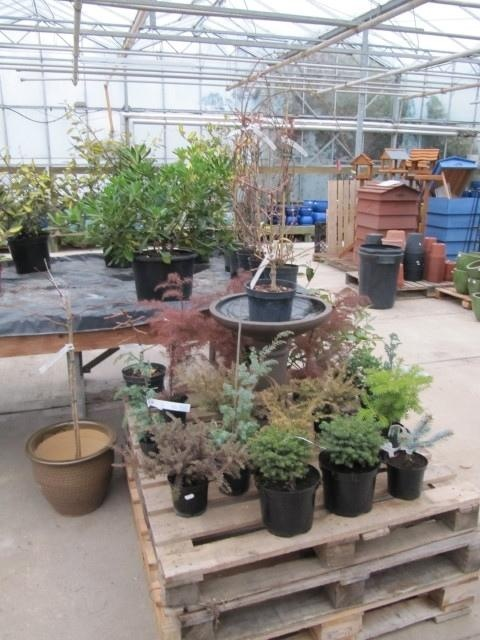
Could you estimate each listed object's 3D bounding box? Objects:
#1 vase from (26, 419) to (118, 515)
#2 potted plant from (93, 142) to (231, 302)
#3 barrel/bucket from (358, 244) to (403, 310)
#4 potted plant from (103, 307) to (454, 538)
[{"bbox_3d":[-0.691,0.627,2.020,0.369,0.257,0.347,-11,19,-40],"label":"vase"},{"bbox_3d":[-0.473,-0.688,3.112,0.777,0.933,1.529,0,14,2],"label":"potted plant"},{"bbox_3d":[1.474,-0.448,5.169,0.415,0.682,0.477,3,16,13],"label":"barrel/bucket"},{"bbox_3d":[0.155,0.316,1.688,1.065,0.444,0.964,6,15,23],"label":"potted plant"}]
